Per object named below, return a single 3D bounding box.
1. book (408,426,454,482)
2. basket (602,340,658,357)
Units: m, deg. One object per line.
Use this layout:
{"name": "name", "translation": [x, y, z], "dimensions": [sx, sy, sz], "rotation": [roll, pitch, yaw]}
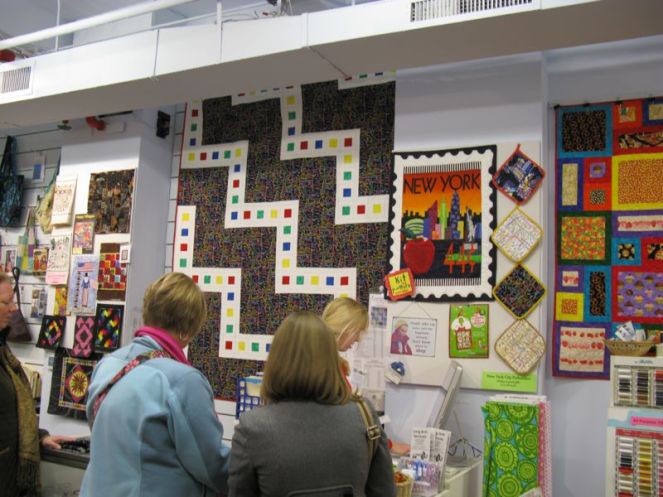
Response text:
{"name": "book", "translation": [0.540, 1.115, 2.973], "dimensions": [0.189, 0.257, 0.288], "rotation": [-1, -9, 25]}
{"name": "basket", "translation": [1.668, 0.561, 3.055], "dimensions": [0.223, 0.092, 0.135], "rotation": [-2, -10, 30]}
